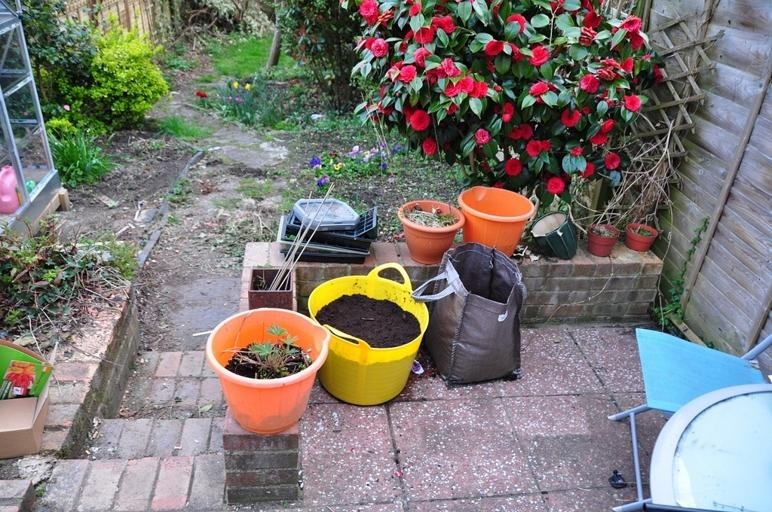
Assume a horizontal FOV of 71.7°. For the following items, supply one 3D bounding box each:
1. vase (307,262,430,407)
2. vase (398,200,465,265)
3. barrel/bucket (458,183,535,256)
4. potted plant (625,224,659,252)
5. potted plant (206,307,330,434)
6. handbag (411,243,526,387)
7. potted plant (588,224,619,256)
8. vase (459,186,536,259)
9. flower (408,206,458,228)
[{"bbox_3d":[-0.129,0.479,3.487,0.700,0.692,0.710,-18,43,-28],"label":"vase"},{"bbox_3d":[0.318,-0.153,3.883,0.477,0.345,0.479,8,30,11],"label":"vase"},{"bbox_3d":[0.735,-0.320,3.817,0.514,0.375,0.521,2,42,-2],"label":"barrel/bucket"},{"bbox_3d":[1.952,-0.142,4.101,0.221,0.141,0.225,4,27,1],"label":"potted plant"},{"bbox_3d":[-0.614,0.590,2.841,0.547,0.388,0.566,33,45,32],"label":"potted plant"},{"bbox_3d":[0.546,0.416,3.541,0.776,0.728,0.496,-12,45,-13],"label":"handbag"},{"bbox_3d":[1.627,-0.132,4.050,0.235,0.186,0.248,0,33,5],"label":"potted plant"},{"bbox_3d":[0.740,-0.266,3.862,0.516,0.374,0.523,-13,45,-18],"label":"vase"},{"bbox_3d":[0.327,-0.273,3.893,0.230,0.081,0.202,-6,26,-10],"label":"flower"}]
